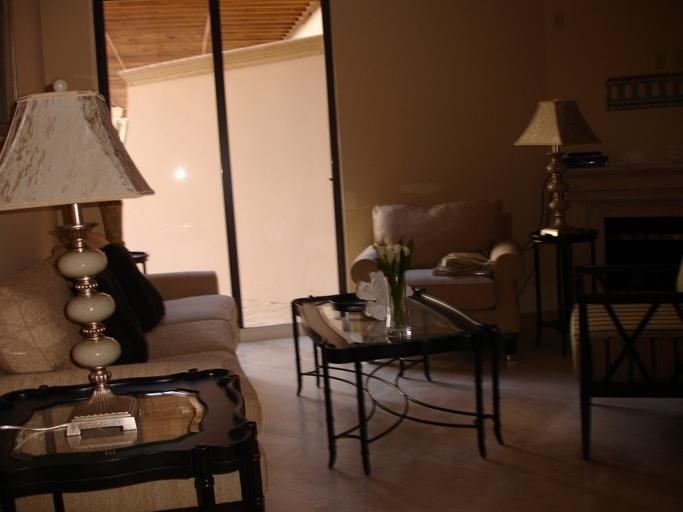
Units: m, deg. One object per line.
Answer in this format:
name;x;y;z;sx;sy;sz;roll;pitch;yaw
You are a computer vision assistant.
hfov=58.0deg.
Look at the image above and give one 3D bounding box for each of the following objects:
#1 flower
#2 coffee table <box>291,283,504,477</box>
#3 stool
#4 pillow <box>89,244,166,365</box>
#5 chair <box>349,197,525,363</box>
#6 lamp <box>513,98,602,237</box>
flower;0.268;0.149;3.067;0.180;0.438;0.285;-2;12;10
coffee table;0.257;0.653;3.427;0.902;0.524;1.247;-4;2;-8
stool;1.670;0.257;4.625;0.529;0.837;0.509;1;0;16
pillow;-1.109;0.254;3.296;0.177;0.535;0.564;-10;27;-1
chair;0.763;0.142;4.728;1.242;0.953;0.816;-2;13;16
lamp;1.654;-0.698;4.753;0.593;0.973;0.980;-1;12;16
